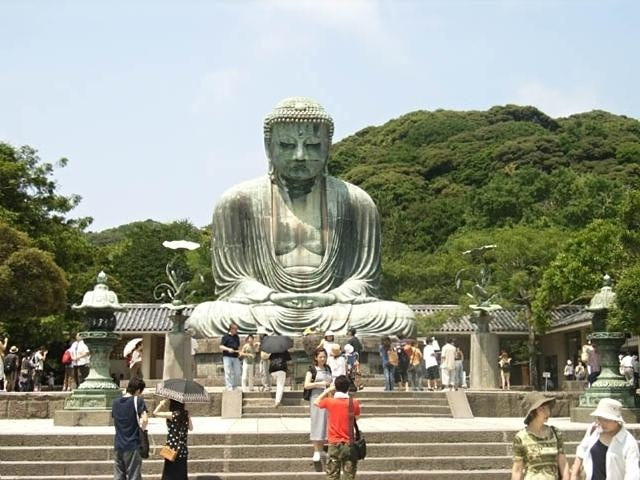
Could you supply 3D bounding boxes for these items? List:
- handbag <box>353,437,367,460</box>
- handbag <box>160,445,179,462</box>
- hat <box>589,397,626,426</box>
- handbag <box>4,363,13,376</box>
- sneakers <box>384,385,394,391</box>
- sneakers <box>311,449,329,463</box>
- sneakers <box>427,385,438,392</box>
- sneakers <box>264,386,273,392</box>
[{"bbox_3d":[0.617,3.167,15.845,0.140,0.325,0.288,-4,-10,12],"label":"handbag"},{"bbox_3d":[-2.245,3.179,15.525,0.279,0.215,0.143,-7,-11,27],"label":"handbag"},{"bbox_3d":[3.899,2.337,14.314,0.366,0.227,0.373,20,-4,8],"label":"hat"},{"bbox_3d":[-7.394,3.151,25.066,0.191,0.279,0.301,1,-10,-20],"label":"handbag"},{"bbox_3d":[1.428,3.063,21.499,0.183,0.120,0.123,1,-6,-2],"label":"sneakers"},{"bbox_3d":[0.019,3.505,16.918,0.228,0.263,0.684,1,-19,-2],"label":"sneakers"},{"bbox_3d":[2.455,3.278,23.001,0.217,0.138,0.383,1,-12,-3],"label":"sneakers"},{"bbox_3d":[-1.025,3.004,20.946,0.136,0.074,0.188,-1,-17,-2],"label":"sneakers"}]
